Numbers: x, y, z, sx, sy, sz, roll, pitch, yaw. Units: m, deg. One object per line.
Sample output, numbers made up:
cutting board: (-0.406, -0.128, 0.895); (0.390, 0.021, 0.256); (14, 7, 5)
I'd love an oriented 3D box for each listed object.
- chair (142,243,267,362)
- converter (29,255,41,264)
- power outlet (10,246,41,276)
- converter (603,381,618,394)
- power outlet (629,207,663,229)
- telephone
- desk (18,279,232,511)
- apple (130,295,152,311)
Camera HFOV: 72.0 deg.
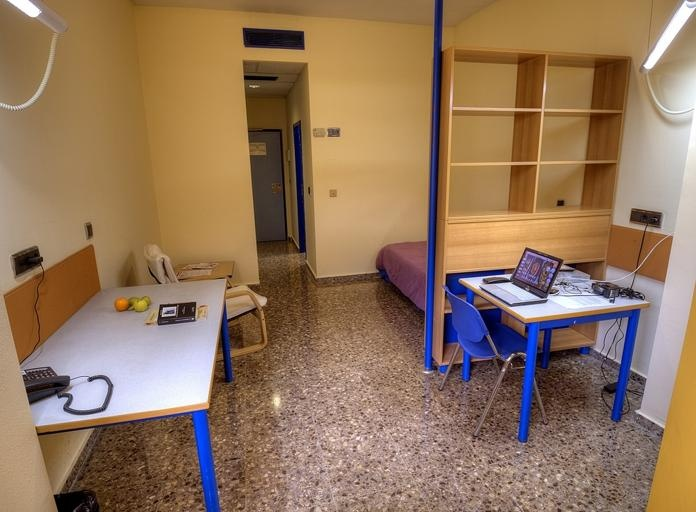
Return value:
chair: (-1.315, 0.298, 4.730); (1.166, 1.374, 0.885); (-9, 19, -21)
converter: (-1.961, 0.033, 3.017); (0.047, 0.022, 0.028); (6, 10, -1)
power outlet: (-1.989, 0.028, 2.982); (0.132, 0.172, 0.238); (3, 11, 0)
converter: (2.096, 1.056, 3.825); (0.067, 0.033, 0.137); (2, 16, 7)
power outlet: (2.346, -0.298, 3.776); (0.056, 0.134, 0.263); (-6, 14, -14)
telephone: (-1.506, 0.721, 2.599); (0.379, 0.092, 0.238); (2, 27, -25)
desk: (-1.368, 0.866, 3.174); (1.086, 0.876, 1.546); (-5, 14, -9)
apple: (-1.484, 0.337, 3.440); (0.088, 0.054, 0.117); (-4, 9, -15)
